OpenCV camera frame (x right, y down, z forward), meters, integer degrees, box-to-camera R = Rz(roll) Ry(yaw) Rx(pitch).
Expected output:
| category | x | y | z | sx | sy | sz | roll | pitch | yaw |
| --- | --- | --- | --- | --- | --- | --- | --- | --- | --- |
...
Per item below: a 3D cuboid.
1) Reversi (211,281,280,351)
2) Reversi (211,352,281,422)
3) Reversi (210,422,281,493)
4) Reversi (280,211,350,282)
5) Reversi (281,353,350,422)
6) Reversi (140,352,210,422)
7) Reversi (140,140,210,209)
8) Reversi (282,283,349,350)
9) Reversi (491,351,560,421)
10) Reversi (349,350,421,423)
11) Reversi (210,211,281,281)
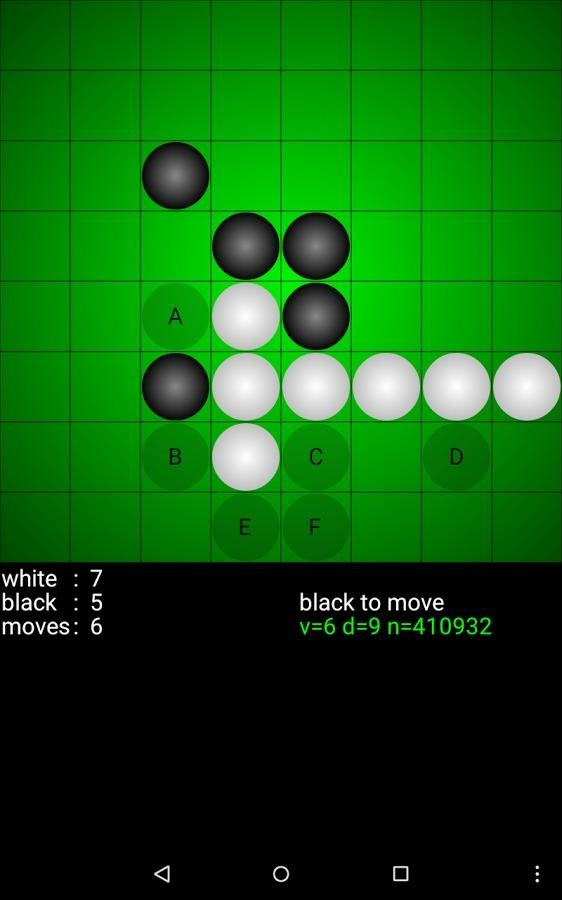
| category | x | y | z | sx | sy | sz | roll | pitch | yaw |
| --- | --- | --- | --- | --- | --- | --- | --- | --- | --- |
| Reversi | -0.093 | -0.316 | 2.148 | 0.150 | 0.161 | 0.086 | 4 | 2 | -4 |
| Reversi | -0.085 | -0.152 | 2.156 | 0.147 | 0.156 | 0.083 | 2 | 0 | -4 |
| Reversi | -0.086 | 0.013 | 2.204 | 0.162 | 0.146 | 0.099 | 19 | -39 | -24 |
| Reversi | 0.086 | -0.501 | 2.183 | 0.153 | 0.160 | 0.086 | 1 | 6 | -3 |
| Reversi | 0.089 | -0.153 | 2.141 | 0.148 | 0.158 | 0.084 | 9 | 4 | -2 |
| Reversi | -0.266 | -0.160 | 2.220 | 0.164 | 0.172 | 0.034 | 1 | 2 | -1 |
| Reversi | -0.267 | -0.689 | 2.204 | 0.152 | 0.161 | 0.087 | 1 | 5 | 0 |
| Reversi | 0.082 | -0.333 | 2.204 | 0.137 | 0.130 | 0.139 | 28 | -44 | -33 |
| Reversi | 0.610 | -0.156 | 2.163 | 0.153 | 0.163 | 0.087 | 3 | 1 | 8 |
| Reversi | 0.262 | -0.155 | 2.114 | 0.153 | 0.161 | 0.087 | 6 | 5 | 0 |
| Reversi | -0.093 | -0.503 | 2.179 | 0.152 | 0.161 | 0.086 | 3 | 6 | 1 |
